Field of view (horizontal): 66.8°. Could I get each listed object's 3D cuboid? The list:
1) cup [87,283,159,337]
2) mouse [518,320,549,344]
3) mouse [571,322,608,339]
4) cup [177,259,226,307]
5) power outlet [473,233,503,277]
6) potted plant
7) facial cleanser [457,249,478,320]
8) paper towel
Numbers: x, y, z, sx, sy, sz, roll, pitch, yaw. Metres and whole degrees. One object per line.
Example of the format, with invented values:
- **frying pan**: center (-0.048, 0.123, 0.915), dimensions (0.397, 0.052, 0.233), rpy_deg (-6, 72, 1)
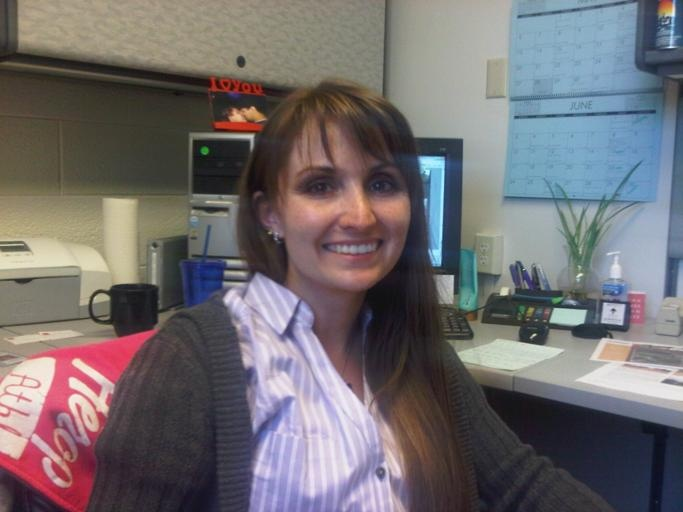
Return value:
- **cup**: center (-0.557, 0.124, 1.319), dimensions (0.180, 0.144, 0.122), rpy_deg (-2, 5, -10)
- **mouse**: center (0.524, 0.201, 1.411), dimensions (0.051, 0.026, 0.074), rpy_deg (2, 11, 22)
- **mouse**: center (0.677, 0.204, 1.405), dimensions (0.052, 0.020, 0.053), rpy_deg (1, 5, -6)
- **cup**: center (-0.389, 0.070, 1.458), dimensions (0.132, 0.142, 0.127), rpy_deg (4, 4, 0)
- **power outlet**: center (0.523, -0.011, 1.844), dimensions (0.069, 0.146, 0.092), rpy_deg (-16, 20, -39)
- **potted plant**: center (0.704, -0.071, 1.674), dimensions (0.298, 0.370, 0.339), rpy_deg (5, 3, 11)
- **facial cleanser**: center (0.424, 0.085, 1.748), dimensions (0.063, 0.215, 0.049), rpy_deg (3, -16, 6)
- **paper towel**: center (-0.666, -0.046, 1.528), dimensions (0.097, 0.262, 0.098), rpy_deg (-5, -6, -20)
